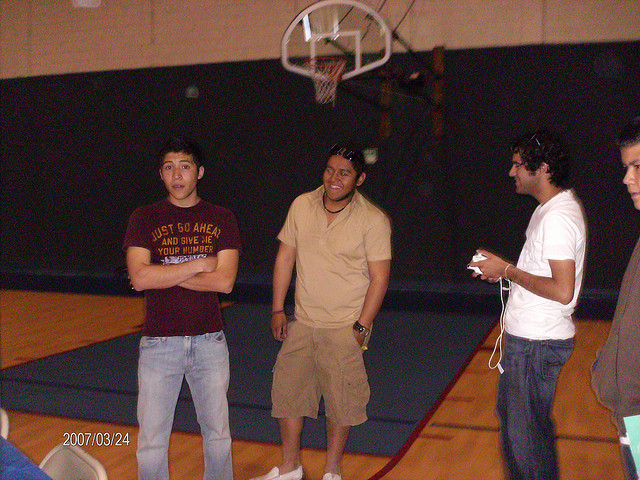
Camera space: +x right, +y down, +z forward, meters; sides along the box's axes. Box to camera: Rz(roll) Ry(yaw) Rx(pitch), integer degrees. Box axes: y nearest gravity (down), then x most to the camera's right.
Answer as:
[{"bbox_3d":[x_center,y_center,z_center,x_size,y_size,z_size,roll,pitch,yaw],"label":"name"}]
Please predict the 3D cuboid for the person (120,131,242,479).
[{"bbox_3d":[-0.871,0.515,4.025,0.742,2.325,0.588,-2,9,-19],"label":"person"}]

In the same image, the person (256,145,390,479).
[{"bbox_3d":[0.062,0.501,4.371,0.835,2.277,0.652,2,8,3],"label":"person"}]

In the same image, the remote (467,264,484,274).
[{"bbox_3d":[1.025,0.207,4.059,0.080,0.032,0.062,29,2,-18],"label":"remote"}]

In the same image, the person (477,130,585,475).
[{"bbox_3d":[1.339,0.425,3.932,0.568,2.210,0.411,5,9,24],"label":"person"}]

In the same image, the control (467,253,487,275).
[{"bbox_3d":[1.025,0.147,4.073,0.084,0.148,0.194,0,9,-7],"label":"control"}]

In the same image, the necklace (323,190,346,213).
[{"bbox_3d":[0.087,-0.263,4.438,0.096,0.126,0.205,-6,11,-39],"label":"necklace"}]
